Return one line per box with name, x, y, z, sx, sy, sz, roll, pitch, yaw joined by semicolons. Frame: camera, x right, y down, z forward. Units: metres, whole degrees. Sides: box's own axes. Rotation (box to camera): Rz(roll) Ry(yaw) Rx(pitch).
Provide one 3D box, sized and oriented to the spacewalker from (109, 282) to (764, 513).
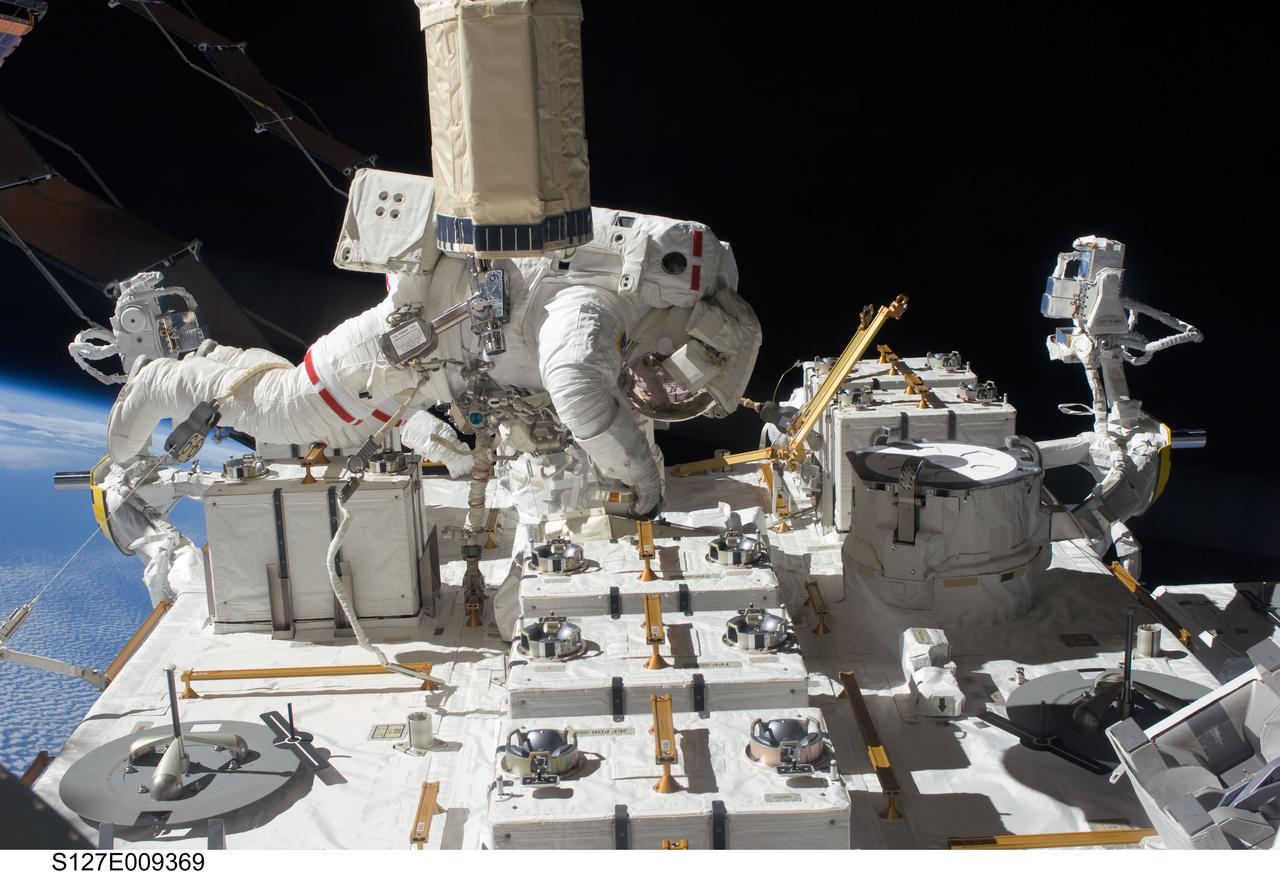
spacewalker;-1.510;-0.491;6.970;4.717;1.441;2.331;-1;18;8
